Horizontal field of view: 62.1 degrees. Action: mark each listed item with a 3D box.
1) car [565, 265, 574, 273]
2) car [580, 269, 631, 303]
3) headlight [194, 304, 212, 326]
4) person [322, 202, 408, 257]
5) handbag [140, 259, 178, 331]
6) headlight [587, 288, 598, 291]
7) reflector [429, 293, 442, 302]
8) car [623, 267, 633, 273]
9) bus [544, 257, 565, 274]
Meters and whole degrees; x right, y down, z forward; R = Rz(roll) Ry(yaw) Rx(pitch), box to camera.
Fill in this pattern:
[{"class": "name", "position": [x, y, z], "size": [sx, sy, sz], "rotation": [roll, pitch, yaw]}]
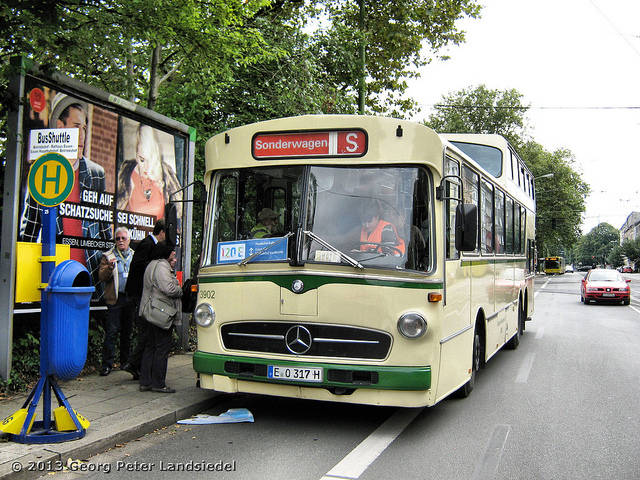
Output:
[{"class": "car", "position": [50.233, 5.854, 107.258], "size": [1.171, 1.064, 2.803], "rotation": [0, 7, 14]}, {"class": "car", "position": [13.917, 2.227, 26.371], "size": [1.312, 1.107, 2.980], "rotation": [-2, -9, 17]}, {"class": "headlight", "position": [-1.483, 0.954, 6.776], "size": [0.220, 0.265, 0.060], "rotation": [5, -3, 28]}, {"class": "person", "position": [0.599, -0.017, 6.415], "size": [0.593, 0.848, 1.095], "rotation": [-13, 7, -35]}, {"class": "handbag", "position": [-2.275, 0.772, 7.550], "size": [0.503, 1.010, 0.247], "rotation": [1, -3, -21]}, {"class": "headlight", "position": [12.925, 2.328, 25.210], "size": [0.371, 0.126, 0.104], "rotation": [-2, -3, 31]}, {"class": "reflector", "position": [1.344, 0.664, 6.166], "size": [0.188, 0.103, 0.032], "rotation": [3, -4, -37]}, {"class": "car", "position": [71.541, 6.905, 123.669], "size": [1.485, 1.477, 2.753], "rotation": [-2, 21, 26]}, {"class": "bus", "position": [36.670, 3.615, 82.990], "size": [2.791, 3.302, 10.159], "rotation": [-1, -7, 23]}]
